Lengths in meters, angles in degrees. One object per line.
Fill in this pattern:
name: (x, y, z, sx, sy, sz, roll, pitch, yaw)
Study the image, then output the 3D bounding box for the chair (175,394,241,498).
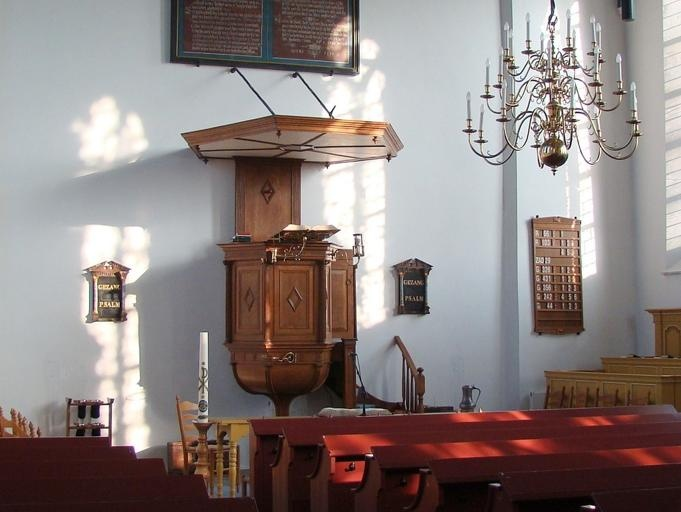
chair: (-1.780, 2.549, 13.618, 0.642, 1.434, 0.648, -13, -3, -8)
